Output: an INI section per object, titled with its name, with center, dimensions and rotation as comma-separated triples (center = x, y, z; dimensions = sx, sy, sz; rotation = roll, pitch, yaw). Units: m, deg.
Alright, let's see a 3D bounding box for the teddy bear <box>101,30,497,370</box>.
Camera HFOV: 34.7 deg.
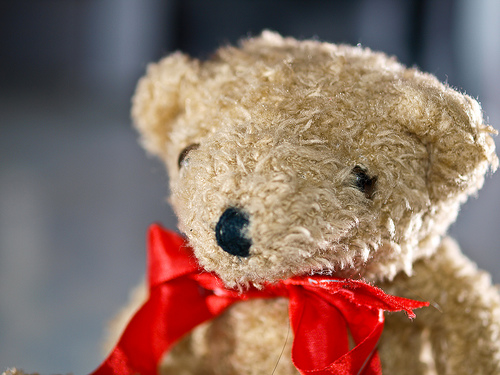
[teddy bear]
center = 0.114, 0.046, 1.686
dimensions = 0.680, 0.763, 0.416
rotation = 5, 4, 17
